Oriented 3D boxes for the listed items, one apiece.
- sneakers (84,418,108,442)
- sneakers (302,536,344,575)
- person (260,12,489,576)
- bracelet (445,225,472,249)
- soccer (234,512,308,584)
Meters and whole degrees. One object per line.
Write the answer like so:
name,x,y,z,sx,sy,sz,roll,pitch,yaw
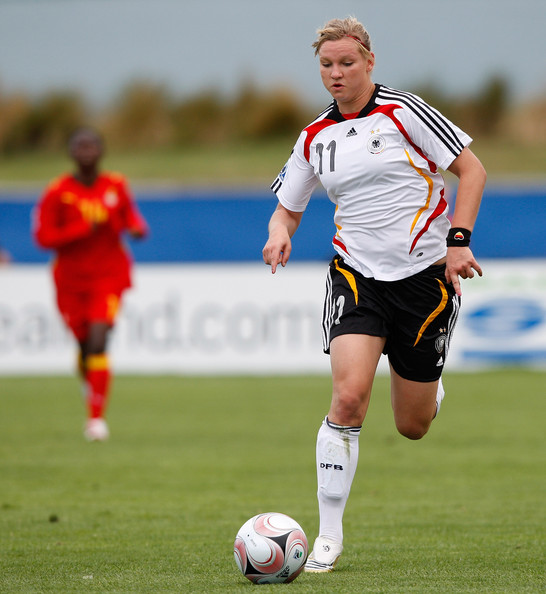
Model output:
sneakers,-0.801,0.608,6.010,0.088,0.109,0.045,3,-5,-20
sneakers,0.235,1.146,5.877,0.133,0.146,0.280,6,11,20
person,0.447,-0.045,6.131,0.993,2.418,0.930,1,11,-1
bracelet,0.817,-0.254,5.807,0.096,0.077,0.093,0,1,16
soccer,-0.004,1.112,5.796,0.336,0.315,0.318,10,-18,-28
